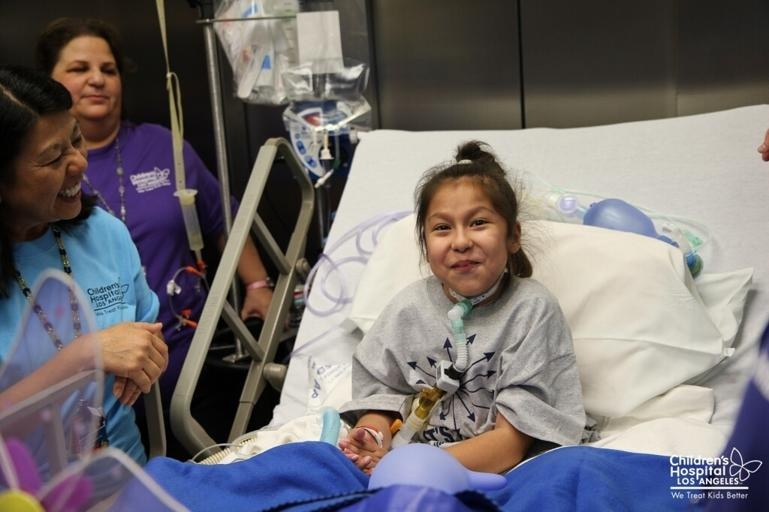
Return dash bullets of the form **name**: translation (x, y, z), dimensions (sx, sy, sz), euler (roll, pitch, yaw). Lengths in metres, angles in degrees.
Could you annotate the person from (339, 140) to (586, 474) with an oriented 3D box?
- **person**: translation (0.256, 0.090, 1.761), dimensions (0.641, 0.851, 0.721), euler (-1, 6, 28)
